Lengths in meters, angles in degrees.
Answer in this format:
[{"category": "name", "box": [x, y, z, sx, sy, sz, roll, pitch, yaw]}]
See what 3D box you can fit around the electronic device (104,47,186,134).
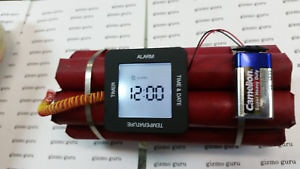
[{"category": "electronic device", "box": [-0.029, 0.034, 1.848, 0.527, 0.340, 0.467, -1, 52, 8]}]
